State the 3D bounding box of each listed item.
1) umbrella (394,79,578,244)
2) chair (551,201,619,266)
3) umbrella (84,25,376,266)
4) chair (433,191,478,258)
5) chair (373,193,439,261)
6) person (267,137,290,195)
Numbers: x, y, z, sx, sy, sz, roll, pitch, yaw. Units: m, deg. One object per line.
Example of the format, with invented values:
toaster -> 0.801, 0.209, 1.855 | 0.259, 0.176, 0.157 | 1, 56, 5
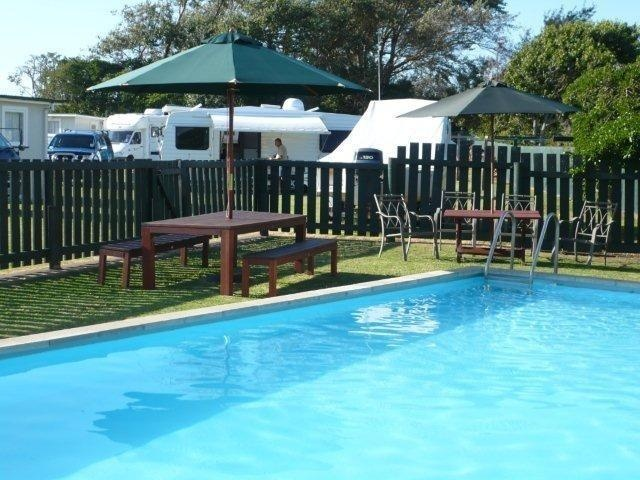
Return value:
umbrella -> 2.655, -1.338, 12.548 | 2.042, 1.987, 2.201 | 0, 6, 0
chair -> 4.305, -0.177, 12.534 | 0.973, 1.455, 0.924 | -6, 8, -43
umbrella -> -1.177, -1.097, 10.408 | 2.916, 2.080, 3.000 | 0, 8, -7
chair -> 2.282, -0.243, 13.194 | 0.815, 1.208, 0.891 | 7, 6, 29
chair -> 1.350, -0.226, 12.565 | 0.752, 1.052, 0.769 | -3, 1, -28
person -> -1.092, -2.010, 21.285 | 0.414, 1.477, 0.533 | 1, 8, 16
